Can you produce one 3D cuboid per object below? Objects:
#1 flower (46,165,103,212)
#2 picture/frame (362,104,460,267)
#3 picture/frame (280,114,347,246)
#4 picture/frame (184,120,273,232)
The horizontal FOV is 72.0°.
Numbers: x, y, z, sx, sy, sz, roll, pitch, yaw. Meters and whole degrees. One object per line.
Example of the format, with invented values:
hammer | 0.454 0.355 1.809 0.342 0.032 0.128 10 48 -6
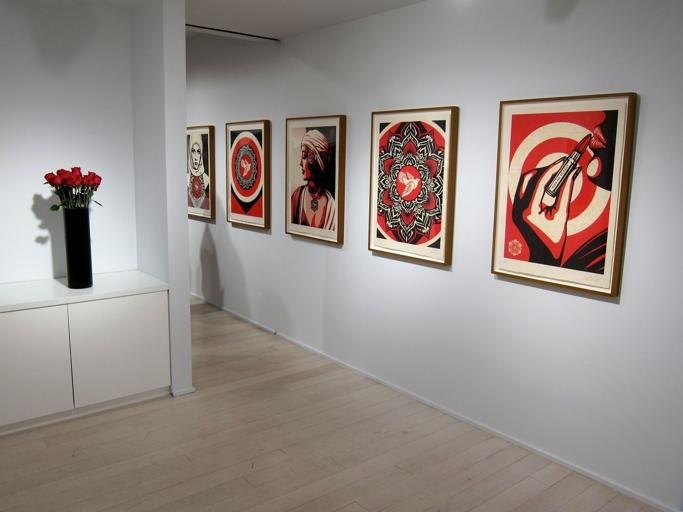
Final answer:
flower | -2.039 -0.507 3.608 0.349 0.347 0.382 -7 15 -30
picture/frame | 0.552 -0.582 3.772 0.826 1.161 0.123 12 16 43
picture/frame | -0.266 -0.748 4.554 0.120 1.172 0.835 -10 16 -43
picture/frame | -1.263 -0.940 5.400 0.051 1.045 1.262 -3 8 -42
